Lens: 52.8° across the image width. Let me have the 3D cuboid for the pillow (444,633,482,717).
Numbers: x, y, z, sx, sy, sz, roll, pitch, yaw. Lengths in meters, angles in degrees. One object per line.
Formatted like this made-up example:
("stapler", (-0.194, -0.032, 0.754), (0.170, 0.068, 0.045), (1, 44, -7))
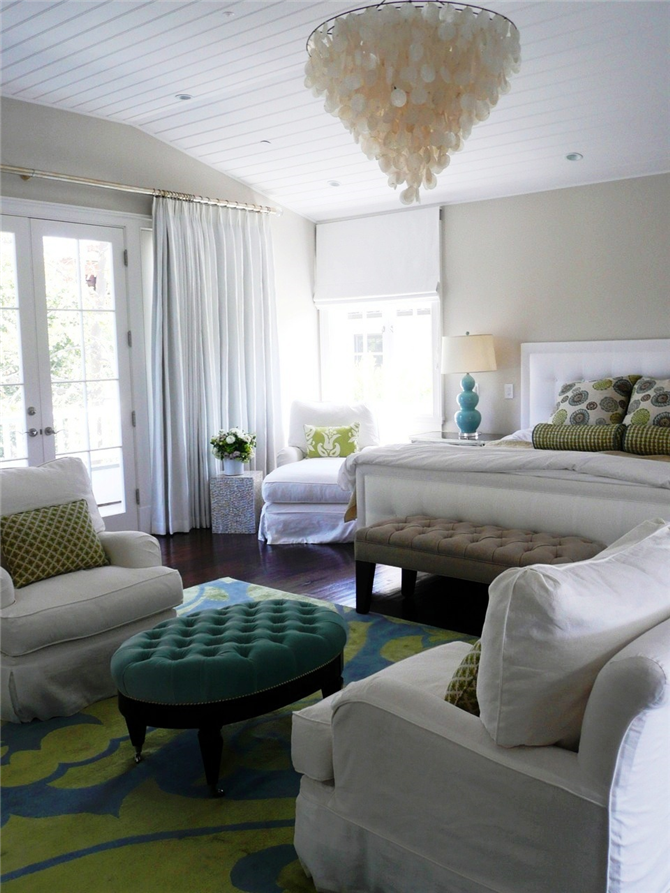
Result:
("pillow", (0.247, 0.446, 1.302), (0.036, 0.117, 0.113), (20, 29, 4))

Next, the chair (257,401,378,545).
("chair", (-0.079, 0.141, 5.207), (0.861, 0.972, 1.184), (-1, 8, 4))

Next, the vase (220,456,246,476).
("vase", (-0.788, 0.142, 5.188), (0.153, 0.108, 0.154), (9, 13, 35))

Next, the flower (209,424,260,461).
("flower", (-0.776, -0.026, 5.169), (0.282, 0.197, 0.274), (3, -7, -5))
